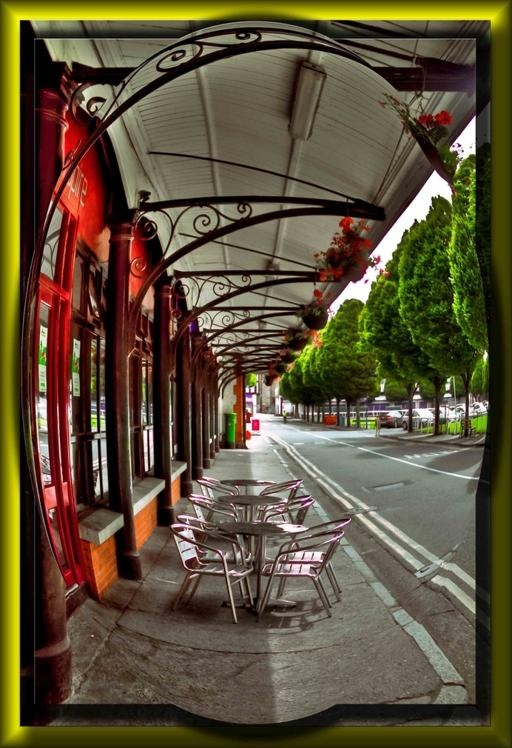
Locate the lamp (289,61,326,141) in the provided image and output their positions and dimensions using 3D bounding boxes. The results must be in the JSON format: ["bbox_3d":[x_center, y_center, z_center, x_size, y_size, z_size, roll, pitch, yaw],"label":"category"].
[{"bbox_3d":[0.414,-2.161,3.767,0.178,0.140,0.590,16,-27,1],"label":"lamp"}]
